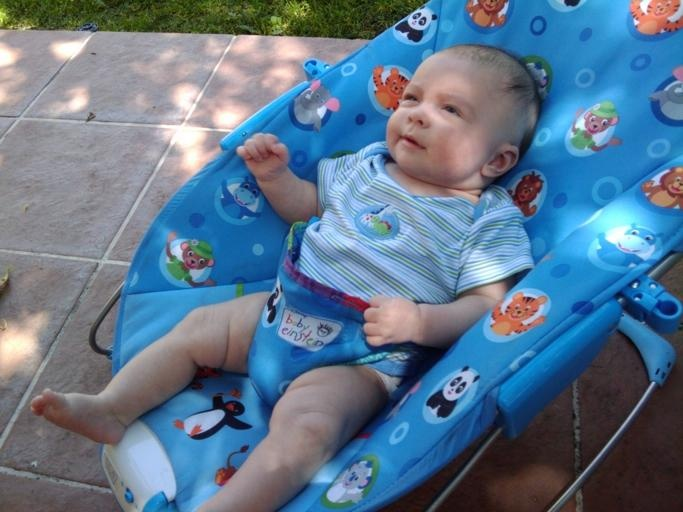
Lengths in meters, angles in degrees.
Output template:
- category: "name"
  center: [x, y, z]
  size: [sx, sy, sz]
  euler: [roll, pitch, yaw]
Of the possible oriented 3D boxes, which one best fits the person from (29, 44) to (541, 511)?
- category: "person"
  center: [-0.009, -0.086, 1.754]
  size: [1.375, 1.016, 0.827]
  euler: [-22, 45, -37]
